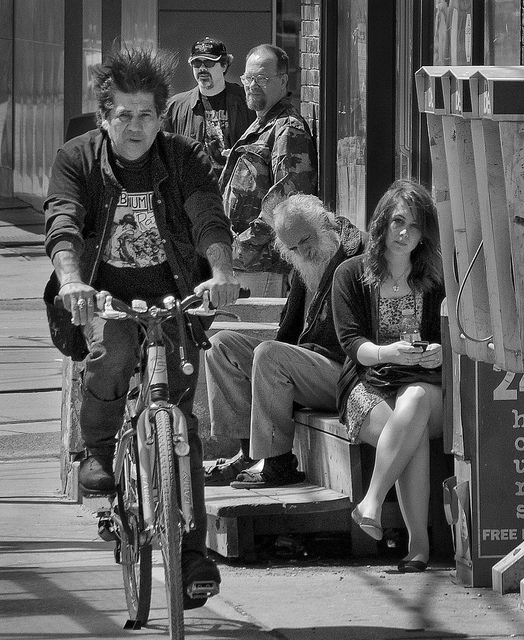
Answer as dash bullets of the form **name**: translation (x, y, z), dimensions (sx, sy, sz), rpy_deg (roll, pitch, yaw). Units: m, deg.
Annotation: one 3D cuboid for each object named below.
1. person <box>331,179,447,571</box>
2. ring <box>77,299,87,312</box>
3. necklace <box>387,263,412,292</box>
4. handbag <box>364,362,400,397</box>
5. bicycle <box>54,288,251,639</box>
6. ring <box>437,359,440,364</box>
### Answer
- **person**: translation (0.535, 0.201, 5.376), dimensions (0.462, 1.537, 0.666), rpy_deg (0, 3, 2)
- **ring**: translation (-0.535, -0.045, 3.945), dimensions (0.025, 0.029, 0.030), rpy_deg (-2, 3, 1)
- **necklace**: translation (0.586, -0.178, 5.549), dimensions (0.101, 0.130, 0.014), rpy_deg (4, -7, 1)
- **handbag**: translation (0.512, 0.240, 5.446), dimensions (0.085, 0.134, 0.228), rpy_deg (-2, 4, -39)
- **bicycle**: translation (-0.327, 0.476, 4.277), dimensions (0.506, 1.167, 0.777), rpy_deg (0, 3, -8)
- **ring**: translation (0.725, 0.167, 5.339), dimensions (0.010, 0.019, 0.014), rpy_deg (1, 3, 8)
